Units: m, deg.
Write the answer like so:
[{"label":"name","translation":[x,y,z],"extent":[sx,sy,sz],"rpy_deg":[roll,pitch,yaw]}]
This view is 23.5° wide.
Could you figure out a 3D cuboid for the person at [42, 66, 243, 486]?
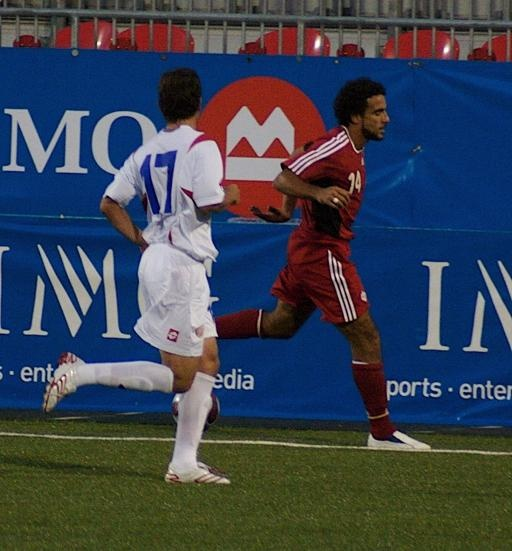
[{"label":"person","translation":[-0.475,-0.007,5.591],"extent":[0.769,1.859,0.372],"rpy_deg":[1,5,-2]}]

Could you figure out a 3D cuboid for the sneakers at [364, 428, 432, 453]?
[{"label":"sneakers","translation":[0.747,0.869,6.488],"extent":[0.332,0.130,0.123],"rpy_deg":[0,-5,13]}]

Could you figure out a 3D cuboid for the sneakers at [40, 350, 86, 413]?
[{"label":"sneakers","translation":[-0.892,0.476,5.649],"extent":[0.138,0.172,0.397],"rpy_deg":[-19,10,-7]}]

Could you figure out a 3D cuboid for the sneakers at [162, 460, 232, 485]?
[{"label":"sneakers","translation":[-0.264,0.904,5.577],"extent":[0.323,0.136,0.107],"rpy_deg":[1,-2,-6]}]

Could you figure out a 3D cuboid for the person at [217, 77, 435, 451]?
[{"label":"person","translation":[0.345,-0.057,6.388],"extent":[1.010,1.927,0.623],"rpy_deg":[5,7,34]}]
